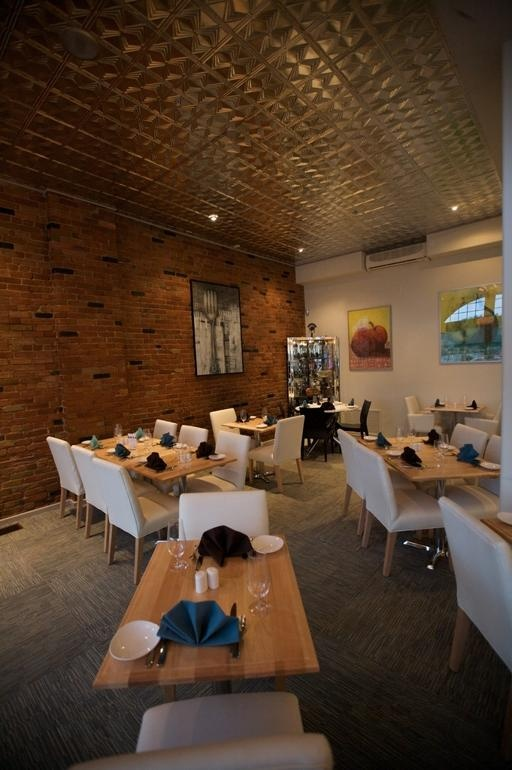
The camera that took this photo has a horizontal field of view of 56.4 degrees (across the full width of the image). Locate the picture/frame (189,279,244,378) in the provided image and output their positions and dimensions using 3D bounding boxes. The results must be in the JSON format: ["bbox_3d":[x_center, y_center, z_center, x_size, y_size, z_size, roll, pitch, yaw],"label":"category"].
[{"bbox_3d":[-0.569,-0.760,6.365,0.074,1.626,1.207,4,9,33],"label":"picture/frame"}]

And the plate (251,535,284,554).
[{"bbox_3d":[0.049,0.704,2.128,0.142,0.023,0.175,-3,8,-2],"label":"plate"}]

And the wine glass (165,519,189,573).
[{"bbox_3d":[-0.338,0.649,2.056,0.075,0.193,0.266,-4,8,-10],"label":"wine glass"}]

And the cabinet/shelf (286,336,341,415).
[{"bbox_3d":[0.928,-0.307,7.871,0.812,1.452,0.459,1,36,10],"label":"cabinet/shelf"}]

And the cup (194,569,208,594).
[{"bbox_3d":[-0.212,0.736,1.807,0.050,0.079,0.061,-4,8,-8],"label":"cup"}]

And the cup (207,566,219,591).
[{"bbox_3d":[-0.172,0.733,1.828,0.046,0.076,0.043,-2,8,0],"label":"cup"}]

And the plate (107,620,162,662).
[{"bbox_3d":[-0.386,0.822,1.540,0.143,0.034,0.163,-2,8,2],"label":"plate"}]

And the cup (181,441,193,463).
[{"bbox_3d":[-0.536,0.511,3.613,0.087,0.150,0.096,-1,16,0],"label":"cup"}]

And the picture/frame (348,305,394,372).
[{"bbox_3d":[1.819,-0.758,7.516,0.093,1.280,1.009,-4,5,-43],"label":"picture/frame"}]

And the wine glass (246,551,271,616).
[{"bbox_3d":[0.005,0.725,1.736,0.099,0.201,0.098,-5,16,-14],"label":"wine glass"}]
